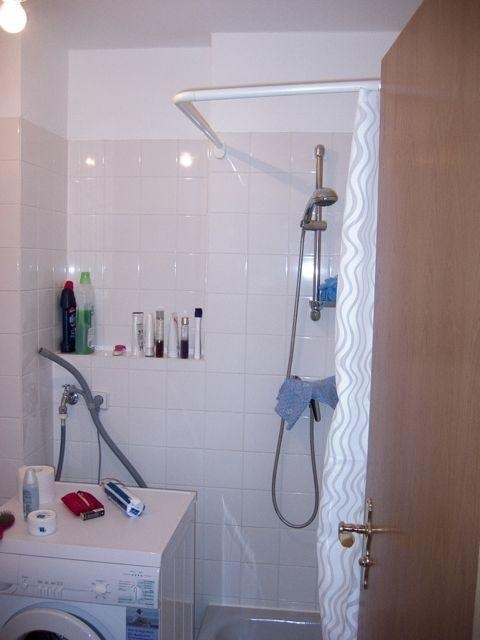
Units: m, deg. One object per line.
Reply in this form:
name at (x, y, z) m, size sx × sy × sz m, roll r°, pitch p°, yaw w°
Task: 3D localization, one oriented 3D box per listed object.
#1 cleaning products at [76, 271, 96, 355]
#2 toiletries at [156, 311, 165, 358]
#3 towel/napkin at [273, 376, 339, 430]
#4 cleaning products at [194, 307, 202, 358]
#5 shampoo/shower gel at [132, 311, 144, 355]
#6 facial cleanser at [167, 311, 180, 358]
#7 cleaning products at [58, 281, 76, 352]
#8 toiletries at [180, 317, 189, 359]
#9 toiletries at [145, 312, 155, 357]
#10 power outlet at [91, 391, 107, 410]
cleaning products at (-0.643, -0.036, 2.385) m, size 0.086 × 0.326 × 0.130 m, roll 2°, pitch 8°, yaw -18°
toiletries at (-0.330, 0.052, 2.352) m, size 0.043 × 0.181 × 0.063 m, roll 3°, pitch 7°, yaw -9°
towel/napkin at (0.238, 0.307, 2.099) m, size 0.213 × 0.203 × 0.107 m, roll 6°, pitch 8°, yaw 4°
cleaning products at (-0.169, 0.044, 2.337) m, size 0.037 × 0.200 × 0.123 m, roll 3°, pitch 8°, yaw -6°
shampoo/shower gel at (-0.419, 0.053, 2.364) m, size 0.048 × 0.168 × 0.087 m, roll 2°, pitch 8°, yaw -12°
facial cleanser at (-0.272, 0.061, 2.354) m, size 0.045 × 0.165 × 0.140 m, roll 3°, pitch 8°, yaw -9°
cleaning products at (-0.707, -0.014, 2.343) m, size 0.076 × 0.291 × 0.064 m, roll 4°, pitch 7°, yaw 2°
toiletries at (-0.227, 0.066, 2.343) m, size 0.038 × 0.158 × 0.122 m, roll 3°, pitch 8°, yaw -7°
toiletries at (-0.369, 0.059, 2.339) m, size 0.041 × 0.168 × 0.059 m, roll 3°, pitch 7°, yaw -10°
power outlet at (-0.569, 0.321, 2.319) m, size 0.053 × 0.070 × 0.020 m, roll -1°, pitch -3°, yaw -13°
